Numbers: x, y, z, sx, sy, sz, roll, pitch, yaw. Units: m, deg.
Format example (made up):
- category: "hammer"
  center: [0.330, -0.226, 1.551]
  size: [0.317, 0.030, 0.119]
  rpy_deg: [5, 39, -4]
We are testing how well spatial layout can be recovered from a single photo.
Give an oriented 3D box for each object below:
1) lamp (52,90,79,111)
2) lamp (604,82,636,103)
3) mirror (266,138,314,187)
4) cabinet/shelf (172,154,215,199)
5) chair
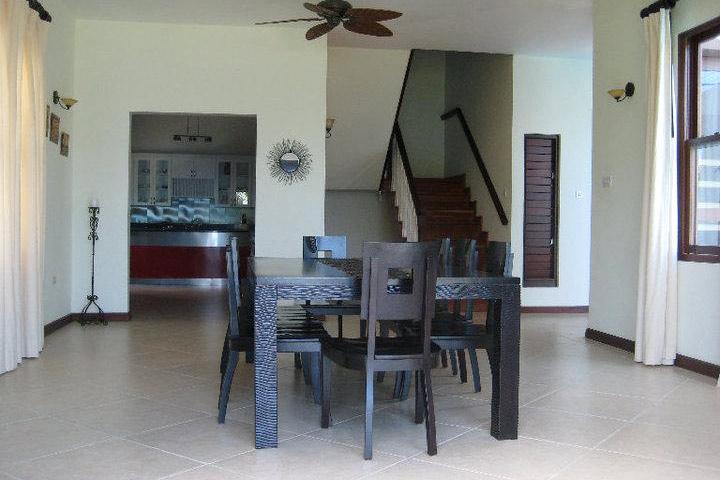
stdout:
- category: "lamp"
  center: [-3.546, -1.689, 6.757]
  size: [0.195, 0.065, 0.192]
  rpy_deg: [5, -6, 23]
- category: "lamp"
  center: [2.826, -1.624, 6.179]
  size: [0.152, 0.211, 0.361]
  rpy_deg: [-2, 7, -19]
- category: "mirror"
  center: [-0.954, -1.039, 7.445]
  size: [0.658, 0.652, 0.065]
  rpy_deg: [1, -1, -6]
- category: "cabinet/shelf"
  center: [-3.660, -1.435, 12.300]
  size: [0.968, 0.925, 0.487]
  rpy_deg: [0, 2, -11]
- category: "chair"
  center: [-0.105, 0.770, 4.688]
  size: [1.655, 1.048, 1.695]
  rpy_deg: [0, -2, -7]
